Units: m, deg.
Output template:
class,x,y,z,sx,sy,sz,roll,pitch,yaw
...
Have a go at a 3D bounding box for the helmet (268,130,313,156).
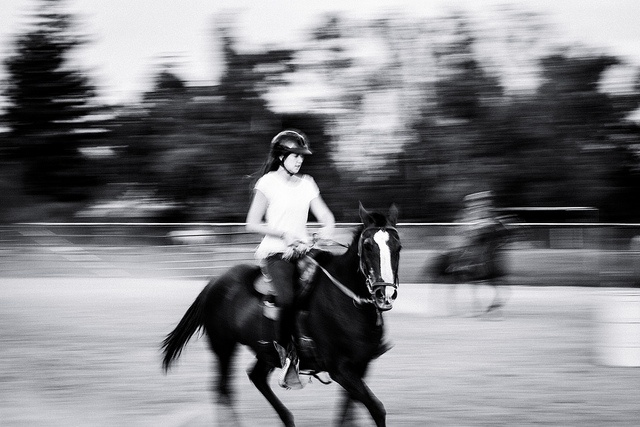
class,x,y,z,sx,sy,sz,roll,pitch,yaw
helmet,-0.523,-1.326,19.459,0.767,0.290,0.467,-4,-1,18
